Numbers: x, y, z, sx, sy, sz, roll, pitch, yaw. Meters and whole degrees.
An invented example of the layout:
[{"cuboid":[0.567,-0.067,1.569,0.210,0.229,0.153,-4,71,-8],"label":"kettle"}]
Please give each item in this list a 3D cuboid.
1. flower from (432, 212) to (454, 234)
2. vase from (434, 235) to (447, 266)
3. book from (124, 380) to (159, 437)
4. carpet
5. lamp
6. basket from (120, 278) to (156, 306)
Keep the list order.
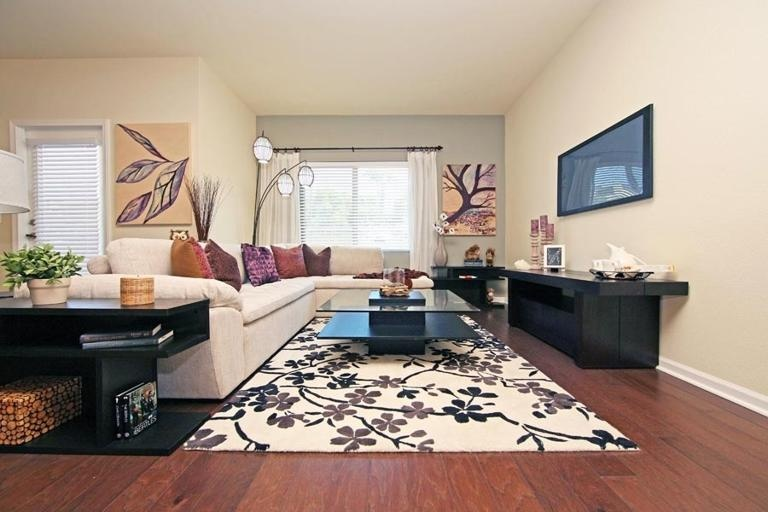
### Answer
[{"cuboid":[0.897,-0.520,7.416,0.290,0.355,0.190,-1,4,5],"label":"flower"},{"cuboid":[0.834,-0.113,7.349,0.181,0.454,0.269,-1,4,-1],"label":"vase"},{"cuboid":[-1.644,1.032,3.344,0.132,0.327,0.388,-3,-1,6],"label":"book"},{"cuboid":[0.147,1.071,3.775,2.781,0.350,1.193,-1,3,1],"label":"carpet"},{"cuboid":[-1.385,-1.018,6.838,0.887,1.661,1.607,-2,4,-14],"label":"lamp"},{"cuboid":[-1.661,0.233,3.409,0.217,0.148,0.198,0,-3,2],"label":"basket"}]
